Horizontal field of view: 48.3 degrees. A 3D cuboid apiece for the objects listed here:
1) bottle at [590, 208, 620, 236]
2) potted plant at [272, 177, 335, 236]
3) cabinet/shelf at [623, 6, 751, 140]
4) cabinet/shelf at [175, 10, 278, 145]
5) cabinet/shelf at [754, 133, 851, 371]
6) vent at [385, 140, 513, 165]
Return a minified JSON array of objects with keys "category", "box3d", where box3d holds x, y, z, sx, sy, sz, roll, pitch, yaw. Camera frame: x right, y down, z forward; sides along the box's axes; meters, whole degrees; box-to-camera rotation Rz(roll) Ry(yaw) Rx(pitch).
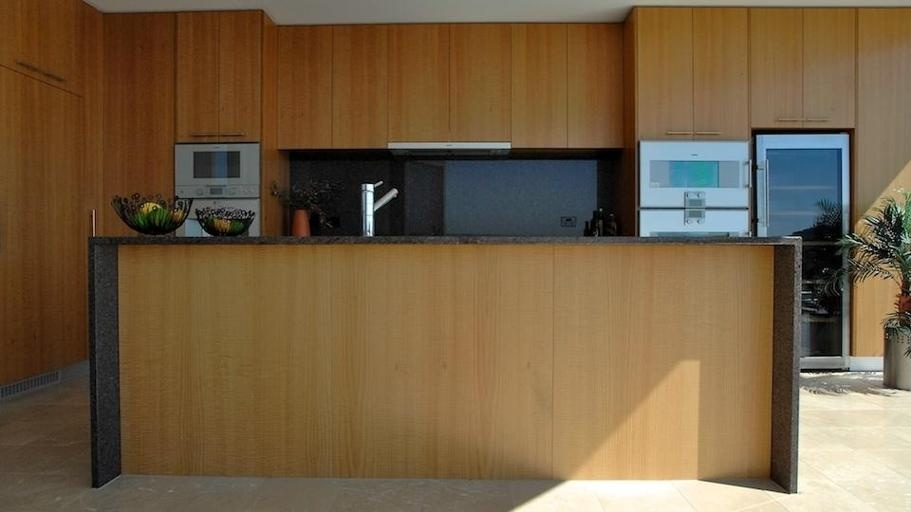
[{"category":"bottle","box3d":[1.539,-0.347,10.525,0.315,0.287,0.102,0,0,12]},{"category":"potted plant","box3d":[-1.530,-0.517,10.422,0.555,0.572,0.651,0,7,-13]},{"category":"cabinet/shelf","box3d":[2.304,-1.810,9.991,1.376,1.445,0.578,0,0,1]},{"category":"cabinet/shelf","box3d":[-2.360,-1.784,10.148,0.870,1.262,0.238,0,7,10]},{"category":"cabinet/shelf","box3d":[3.551,-0.063,10.355,1.107,2.320,0.512,-1,9,12]},{"category":"vent","box3d":[-0.070,-1.091,10.481,1.255,0.193,0.449,-1,7,-1]}]
